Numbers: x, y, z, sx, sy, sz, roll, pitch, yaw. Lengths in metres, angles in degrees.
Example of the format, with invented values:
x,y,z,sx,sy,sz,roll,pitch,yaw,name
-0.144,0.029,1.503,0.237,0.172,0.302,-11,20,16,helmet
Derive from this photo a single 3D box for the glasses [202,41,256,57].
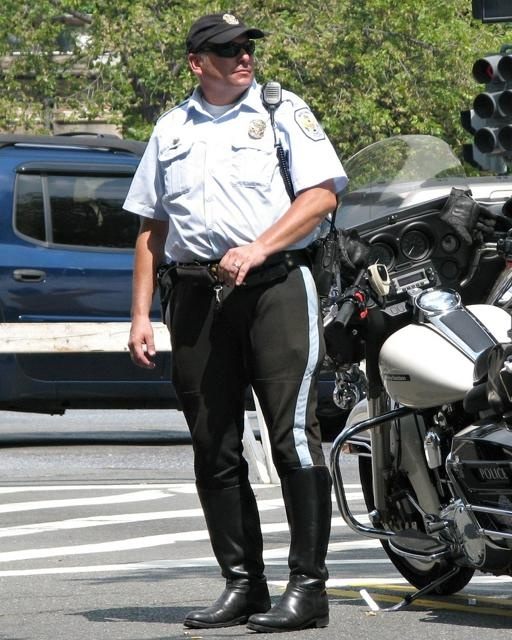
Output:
x,y,z,sx,sy,sz,roll,pitch,yaw,name
-0.069,-0.845,2.861,0.098,0.024,0.113,-6,4,-41,glasses

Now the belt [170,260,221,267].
x,y,z,sx,sy,sz,roll,pitch,yaw,name
-0.209,-0.175,2.818,0.138,0.018,0.014,0,-8,35,belt

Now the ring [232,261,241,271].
x,y,z,sx,sy,sz,roll,pitch,yaw,name
-0.057,-0.151,2.562,0.023,0.022,0.014,4,16,2,ring

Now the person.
x,y,z,sx,sy,sz,roll,pitch,yaw,name
-0.057,-0.022,2.926,0.518,1.972,0.678,4,-8,-35,person

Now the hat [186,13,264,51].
x,y,z,sx,sy,sz,roll,pitch,yaw,name
-0.104,-0.907,2.895,0.236,0.082,0.146,-7,-2,35,hat
